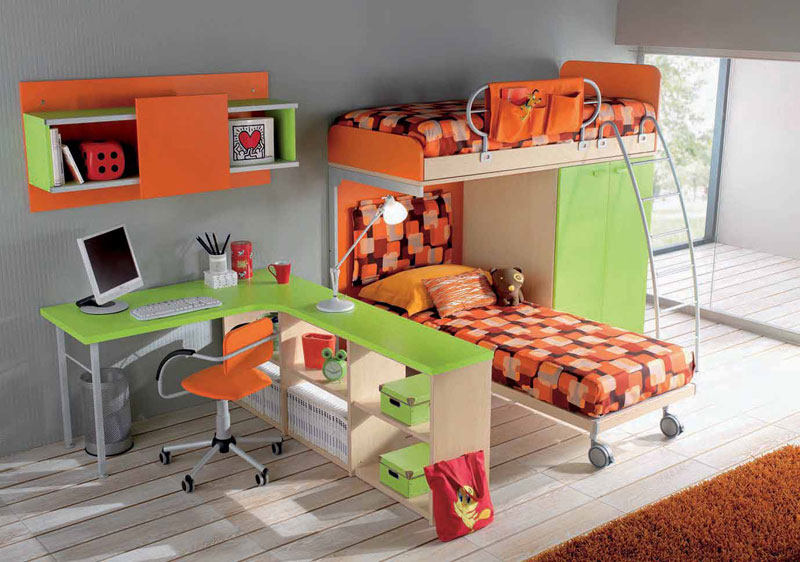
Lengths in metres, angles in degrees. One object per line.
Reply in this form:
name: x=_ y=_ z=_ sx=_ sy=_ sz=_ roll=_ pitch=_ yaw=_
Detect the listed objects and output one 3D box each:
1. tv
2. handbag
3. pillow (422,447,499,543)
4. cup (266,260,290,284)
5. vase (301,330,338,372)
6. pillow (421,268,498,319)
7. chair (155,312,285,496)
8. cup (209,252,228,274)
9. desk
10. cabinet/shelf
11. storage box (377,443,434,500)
tv: x=-1.850 y=-0.065 z=4.081 sx=0.391 sy=0.530 sz=0.451 roll=12 pitch=17 yaw=21
handbag: x=0.322 y=1.194 z=3.564 sx=0.468 sy=0.430 sz=0.168 roll=-14 pitch=8 yaw=-33
pillow: x=0.325 y=1.197 z=3.577 sx=0.479 sy=0.465 sz=0.180 roll=-14 pitch=8 yaw=-32
cup: x=-0.869 y=-0.066 z=4.576 sx=0.135 sy=0.133 sz=0.194 roll=-3 pitch=7 yaw=-21
vase: x=-0.555 y=0.444 z=4.378 sx=0.329 sy=0.281 sz=0.219 roll=1 pitch=2 yaw=6
pillow: x=0.488 y=0.085 z=5.135 sx=0.577 sy=0.331 sz=0.150 roll=-8 pitch=-22 yaw=-33
chair: x=-1.169 y=0.825 z=4.216 sx=0.801 sy=0.881 sz=0.797 roll=18 pitch=22 yaw=26
cup: x=-1.238 y=-0.122 z=4.478 sx=0.140 sy=0.122 sz=0.126 roll=0 pitch=9 yaw=0
desk: x=-0.588 y=0.439 z=4.091 sx=1.657 sy=0.820 sz=2.033 roll=-11 pitch=18 yaw=-36
cabinet/shelf: x=-1.516 y=-0.886 z=4.217 sx=1.636 sy=0.585 sz=0.399 roll=-14 pitch=19 yaw=-31
storage box: x=0.057 y=1.115 z=3.858 sx=0.340 sy=0.153 sz=0.330 roll=-9 pitch=16 yaw=-38
